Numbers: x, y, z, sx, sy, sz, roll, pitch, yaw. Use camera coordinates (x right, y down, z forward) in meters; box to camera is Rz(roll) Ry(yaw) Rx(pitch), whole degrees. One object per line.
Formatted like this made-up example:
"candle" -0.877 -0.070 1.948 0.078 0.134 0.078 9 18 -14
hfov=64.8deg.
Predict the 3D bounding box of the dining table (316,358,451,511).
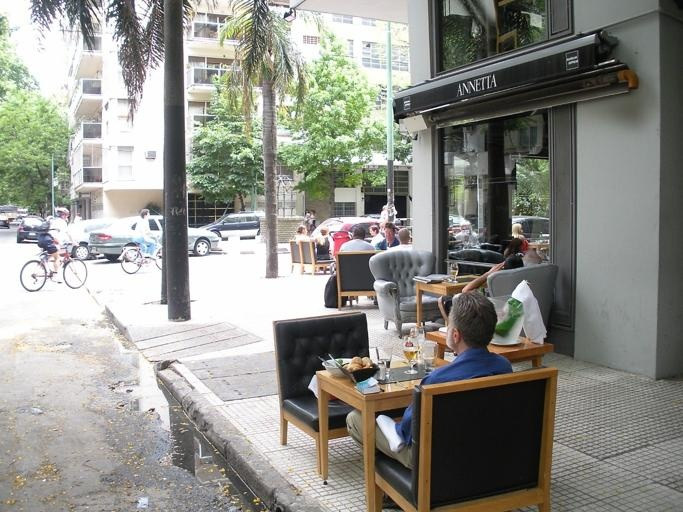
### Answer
"dining table" 0.333 1.268 4.430 0.969 0.964 0.910 -3 5 -33

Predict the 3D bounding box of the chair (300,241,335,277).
"chair" -0.825 -0.064 17.946 0.946 1.174 1.633 -3 6 -22

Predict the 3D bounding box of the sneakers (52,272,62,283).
"sneakers" -8.325 0.625 15.803 0.200 0.272 0.239 -2 -18 -13

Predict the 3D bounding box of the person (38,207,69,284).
"person" -7.987 -0.251 15.202 0.699 1.627 0.600 2 -12 11

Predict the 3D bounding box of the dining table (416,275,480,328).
"dining table" 1.700 0.553 8.945 0.769 1.059 1.047 -5 9 -24

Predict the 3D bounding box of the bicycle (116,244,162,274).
"bicycle" -7.107 0.100 19.214 1.713 1.085 0.836 -6 10 -36

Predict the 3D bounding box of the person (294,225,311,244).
"person" -1.313 -0.728 17.993 0.470 0.605 1.367 -2 3 -9

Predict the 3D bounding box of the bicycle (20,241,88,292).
"bicycle" -8.420 0.261 15.506 2.393 1.560 1.172 -3 7 -27

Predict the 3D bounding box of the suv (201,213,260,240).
"suv" -6.606 -2.059 34.328 3.962 1.763 1.830 1 0 -15

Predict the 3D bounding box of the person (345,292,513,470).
"person" 0.690 0.841 3.903 1.108 1.402 1.025 -3 8 -27

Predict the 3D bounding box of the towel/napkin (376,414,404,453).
"towel/napkin" 0.333 1.213 3.706 0.064 0.181 0.175 -23 12 -11

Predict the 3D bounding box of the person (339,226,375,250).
"person" 0.389 -0.435 12.540 0.758 0.568 1.964 -1 3 3

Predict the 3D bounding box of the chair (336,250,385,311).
"chair" 0.158 0.464 12.103 1.078 1.583 1.115 -1 7 -6
